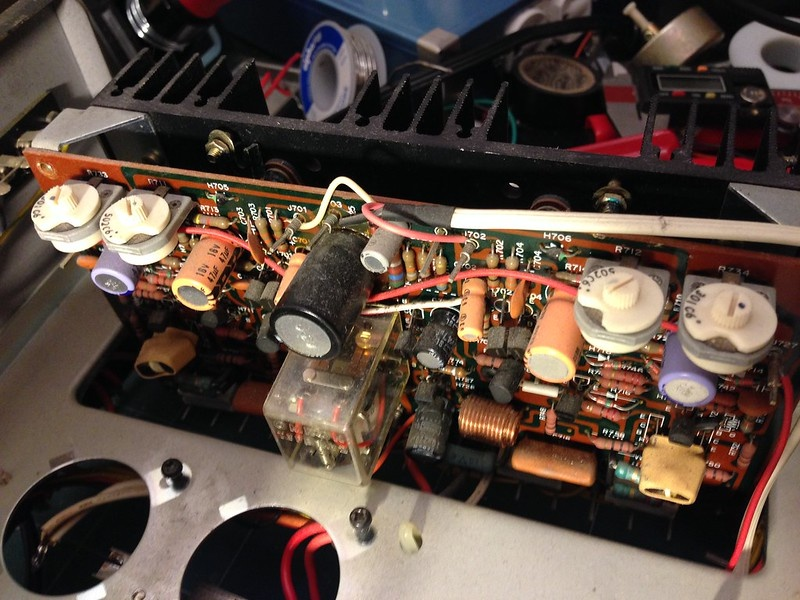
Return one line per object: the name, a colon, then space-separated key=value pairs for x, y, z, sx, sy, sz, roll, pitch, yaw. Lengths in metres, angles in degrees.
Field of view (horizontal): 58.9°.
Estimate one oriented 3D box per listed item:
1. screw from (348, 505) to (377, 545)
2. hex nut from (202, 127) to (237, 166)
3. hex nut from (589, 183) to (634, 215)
screw: x=-0.108 y=0.659 z=2.050 sx=0.067 sy=0.104 sz=0.033 roll=-21 pitch=17 yaw=-4
hex nut: x=-0.548 y=-0.474 z=2.144 sx=0.089 sy=0.092 sz=0.029 roll=36 pitch=36 yaw=3
hex nut: x=0.578 y=-0.274 z=1.936 sx=0.099 sy=0.086 sz=0.089 roll=6 pitch=39 yaw=15
